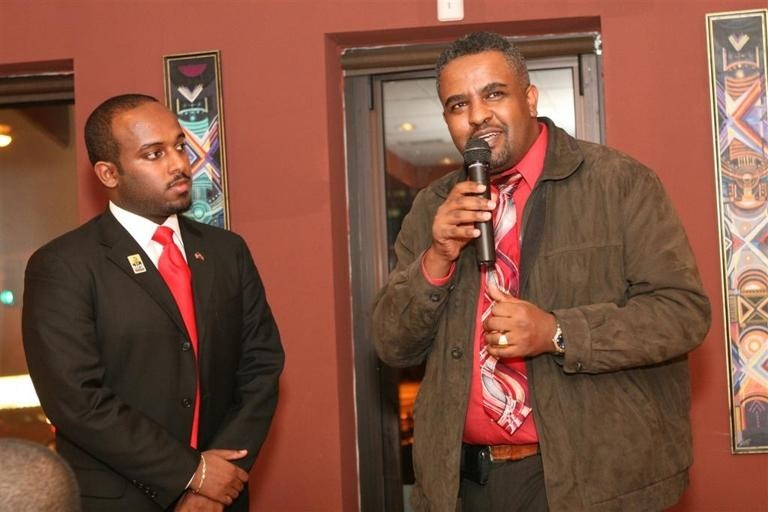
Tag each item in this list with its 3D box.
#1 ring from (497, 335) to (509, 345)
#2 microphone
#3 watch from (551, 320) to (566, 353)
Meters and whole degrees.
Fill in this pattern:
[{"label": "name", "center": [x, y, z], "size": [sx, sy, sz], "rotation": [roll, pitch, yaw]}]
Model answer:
[{"label": "ring", "center": [0.422, 0.302, 2.502], "size": [0.033, 0.059, 0.028], "rotation": [-2, 5, 6]}, {"label": "microphone", "center": [0.367, -0.199, 2.660], "size": [0.104, 0.364, 0.244], "rotation": [-5, 2, 7]}, {"label": "watch", "center": [0.613, 0.287, 2.519], "size": [0.067, 0.089, 0.023], "rotation": [-16, 4, -36]}]
